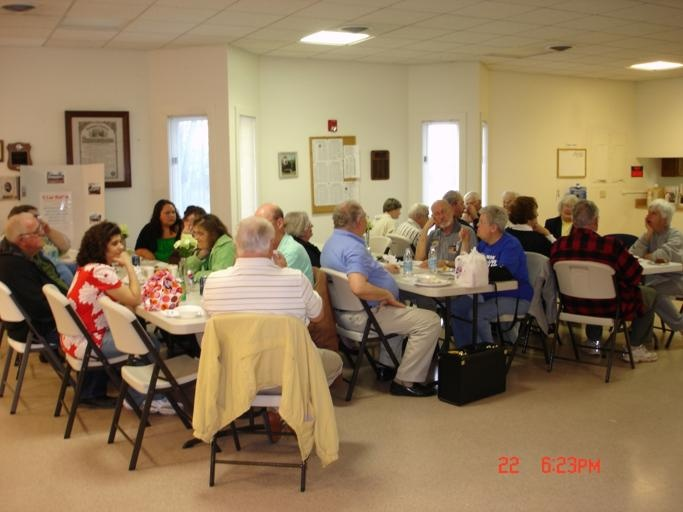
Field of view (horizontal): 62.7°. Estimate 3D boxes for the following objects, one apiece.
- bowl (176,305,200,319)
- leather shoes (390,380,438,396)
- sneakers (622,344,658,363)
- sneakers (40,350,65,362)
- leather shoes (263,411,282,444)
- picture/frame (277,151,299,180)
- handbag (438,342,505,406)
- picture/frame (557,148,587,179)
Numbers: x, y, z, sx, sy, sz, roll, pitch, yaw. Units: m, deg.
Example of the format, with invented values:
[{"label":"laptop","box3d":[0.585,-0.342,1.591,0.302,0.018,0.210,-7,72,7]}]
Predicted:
[{"label":"bowl","box3d":[-1.031,0.375,3.837,0.150,0.062,0.221,-8,15,-31]},{"label":"leather shoes","box3d":[0.601,1.115,4.683,0.384,0.167,0.148,-4,1,2]},{"label":"sneakers","box3d":[2.864,0.937,5.437,0.382,0.211,0.172,-2,3,1]},{"label":"sneakers","box3d":[-2.498,0.875,4.858,0.259,0.093,0.262,0,-16,-6]},{"label":"leather shoes","box3d":[-0.465,1.186,3.888,0.116,0.301,0.107,-5,16,-1]},{"label":"picture/frame","box3d":[-0.809,-1.366,8.427,0.390,0.477,0.033,-5,7,-40]},{"label":"handbag","box3d":[1.092,0.947,4.594,0.680,0.568,0.389,-4,3,-39]},{"label":"picture/frame","box3d":[4.234,-1.713,10.380,0.546,0.457,0.040,-4,5,-34]}]
